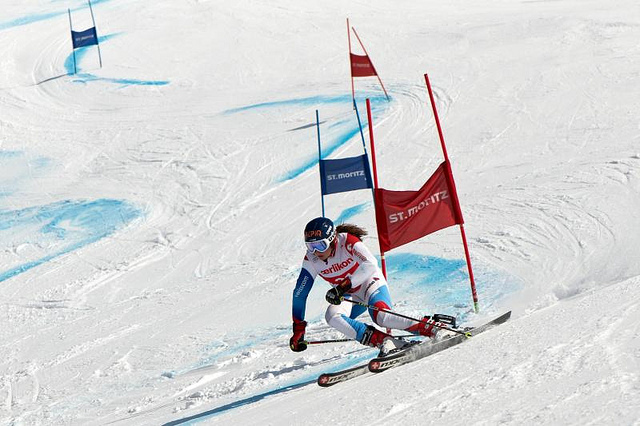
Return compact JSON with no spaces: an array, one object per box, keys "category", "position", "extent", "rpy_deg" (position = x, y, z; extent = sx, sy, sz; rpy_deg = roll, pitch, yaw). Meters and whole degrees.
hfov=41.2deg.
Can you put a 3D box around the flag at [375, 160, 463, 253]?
[{"category":"flag","position":[2.293,-0.150,20.511],"extent":[2.237,1.560,1.234],"rpy_deg":[-17,52,-10]}]
